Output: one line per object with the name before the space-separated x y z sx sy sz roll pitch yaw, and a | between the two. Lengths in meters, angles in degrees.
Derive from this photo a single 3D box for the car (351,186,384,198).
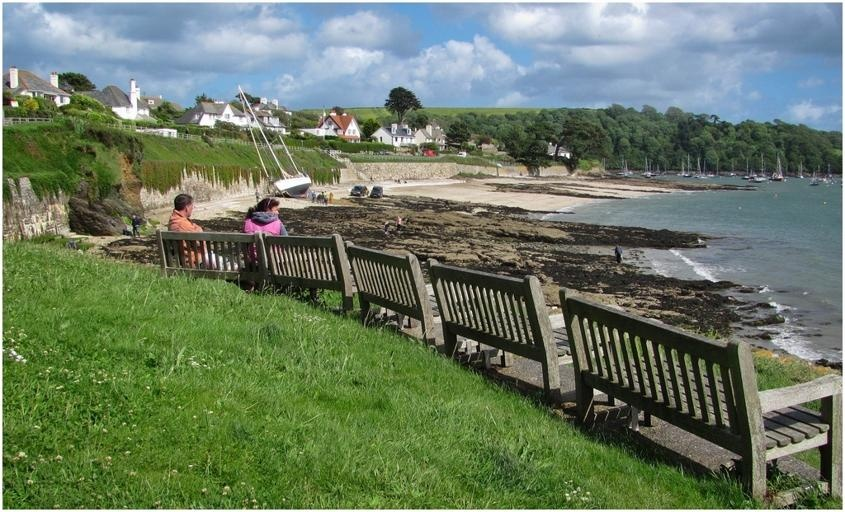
car | -6.782 -7.567 69.283 4.465 1.354 2.368 15 16 41

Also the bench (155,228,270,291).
bench | -4.143 -0.042 11.432 2.469 1.028 0.538 9 13 21
